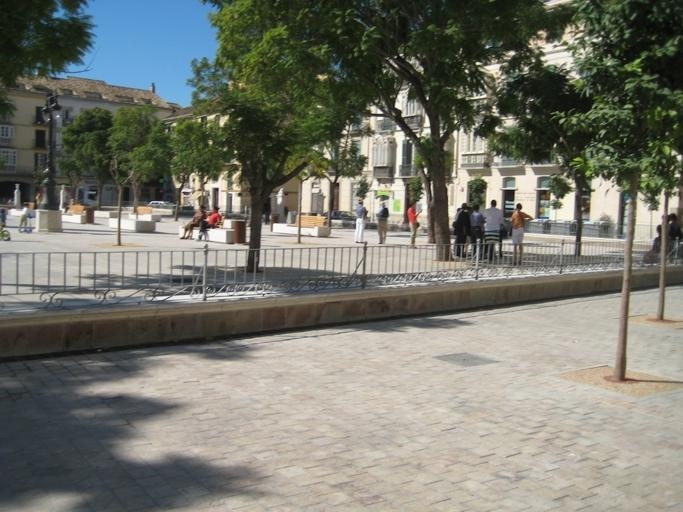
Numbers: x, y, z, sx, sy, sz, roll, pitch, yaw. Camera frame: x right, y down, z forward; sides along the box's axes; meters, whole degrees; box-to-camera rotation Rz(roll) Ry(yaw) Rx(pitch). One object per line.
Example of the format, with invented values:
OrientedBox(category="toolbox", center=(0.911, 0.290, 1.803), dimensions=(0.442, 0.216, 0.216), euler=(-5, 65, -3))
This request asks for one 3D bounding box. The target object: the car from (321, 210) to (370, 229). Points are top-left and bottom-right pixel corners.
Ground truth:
OrientedBox(category="car", center=(0.265, -2.424, 45.054), dimensions=(3.620, 1.047, 1.419), euler=(-1, 4, -3))
